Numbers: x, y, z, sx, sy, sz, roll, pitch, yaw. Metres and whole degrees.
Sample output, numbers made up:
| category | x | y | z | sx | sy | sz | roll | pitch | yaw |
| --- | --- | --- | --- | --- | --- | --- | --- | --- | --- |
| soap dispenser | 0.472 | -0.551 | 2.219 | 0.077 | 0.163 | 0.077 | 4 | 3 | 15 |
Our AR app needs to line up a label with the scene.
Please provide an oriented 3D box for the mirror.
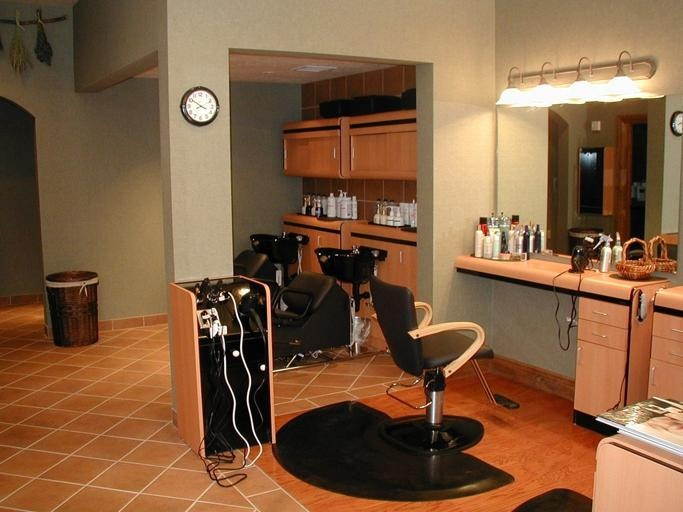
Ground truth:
| category | x | y | z | sx | sy | sz | roll | pitch | yaw |
| --- | --- | --- | --- | --- | --- | --- | --- | --- | --- |
| mirror | 2.007 | -0.602 | 4.350 | 0.441 | 1.166 | 1.328 | -6 | 9 | -37 |

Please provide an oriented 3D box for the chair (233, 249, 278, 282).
| category | x | y | z | sx | sy | sz | roll | pitch | yaw |
| --- | --- | --- | --- | --- | --- | --- | --- | --- | --- |
| chair | -0.973 | 0.114 | 6.380 | 0.418 | 0.410 | 0.403 | 3 | 0 | -42 |

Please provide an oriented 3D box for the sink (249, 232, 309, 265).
| category | x | y | z | sx | sy | sz | roll | pitch | yaw |
| --- | --- | --- | --- | --- | --- | --- | --- | --- | --- |
| sink | -0.729 | -0.106 | 6.824 | 0.557 | 0.296 | 0.404 | -6 | 7 | -41 |

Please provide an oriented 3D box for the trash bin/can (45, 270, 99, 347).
| category | x | y | z | sx | sy | sz | roll | pitch | yaw |
| --- | --- | --- | --- | --- | --- | --- | --- | --- | --- |
| trash bin/can | -3.042 | 0.619 | 6.275 | 0.585 | 0.785 | 0.534 | 0 | 4 | 30 |

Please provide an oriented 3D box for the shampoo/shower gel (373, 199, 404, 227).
| category | x | y | z | sx | sy | sz | roll | pitch | yaw |
| --- | --- | --- | --- | --- | --- | --- | --- | --- | --- |
| shampoo/shower gel | 0.528 | -0.459 | 5.995 | 0.258 | 0.241 | 0.557 | -4 | 12 | -13 |

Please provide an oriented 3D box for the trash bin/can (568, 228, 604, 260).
| category | x | y | z | sx | sy | sz | roll | pitch | yaw |
| --- | --- | --- | --- | --- | --- | --- | --- | --- | --- |
| trash bin/can | 1.963 | -0.094 | 4.466 | 0.242 | 0.232 | 0.241 | -1 | 2 | -12 |

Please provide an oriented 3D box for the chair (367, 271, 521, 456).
| category | x | y | z | sx | sy | sz | roll | pitch | yaw |
| --- | --- | --- | --- | --- | --- | --- | --- | --- | --- |
| chair | 0.738 | 0.708 | 4.422 | 1.152 | 1.344 | 1.007 | -5 | 11 | -23 |

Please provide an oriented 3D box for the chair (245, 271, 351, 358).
| category | x | y | z | sx | sy | sz | roll | pitch | yaw |
| --- | --- | --- | --- | --- | --- | --- | --- | --- | --- |
| chair | -0.531 | 0.566 | 5.482 | 1.082 | 0.738 | 0.802 | -2 | 6 | -29 |

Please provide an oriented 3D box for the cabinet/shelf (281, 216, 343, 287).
| category | x | y | z | sx | sy | sz | roll | pitch | yaw |
| --- | --- | --- | --- | --- | --- | --- | --- | --- | --- |
| cabinet/shelf | -0.283 | -0.039 | 7.176 | 1.137 | 0.824 | 0.692 | 10 | 1 | 42 |

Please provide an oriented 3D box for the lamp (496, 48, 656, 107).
| category | x | y | z | sx | sy | sz | roll | pitch | yaw |
| --- | --- | --- | --- | --- | --- | --- | --- | --- | --- |
| lamp | 1.808 | -1.380 | 4.317 | 0.362 | 0.377 | 1.264 | -10 | 14 | -37 |

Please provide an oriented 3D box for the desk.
| category | x | y | z | sx | sy | sz | roll | pitch | yaw |
| --- | --- | --- | --- | --- | --- | --- | --- | --- | --- |
| desk | 1.722 | 0.638 | 4.613 | 0.598 | 1.144 | 1.684 | -6 | 11 | -31 |

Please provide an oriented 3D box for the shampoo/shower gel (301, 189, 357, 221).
| category | x | y | z | sx | sy | sz | roll | pitch | yaw |
| --- | --- | --- | --- | --- | --- | --- | --- | --- | --- |
| shampoo/shower gel | -0.151 | -0.630 | 7.058 | 0.291 | 0.357 | 0.953 | -2 | 4 | -31 |

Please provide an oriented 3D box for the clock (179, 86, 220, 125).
| category | x | y | z | sx | sy | sz | roll | pitch | yaw |
| --- | --- | --- | --- | --- | --- | --- | --- | --- | --- |
| clock | -1.004 | -1.071 | 3.944 | 0.267 | 0.258 | 0.268 | -2 | 2 | -17 |
